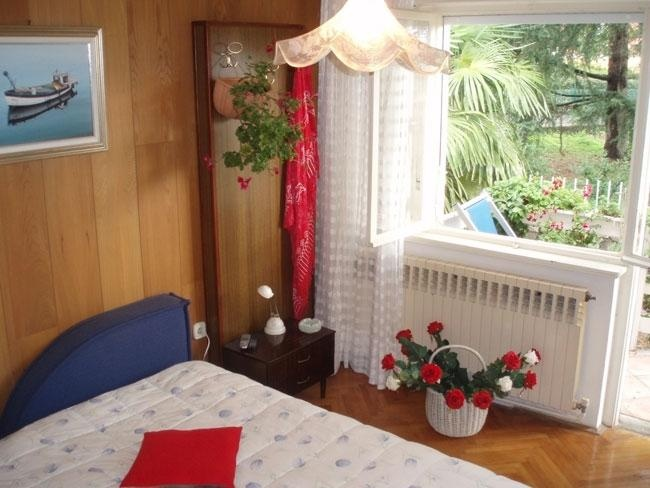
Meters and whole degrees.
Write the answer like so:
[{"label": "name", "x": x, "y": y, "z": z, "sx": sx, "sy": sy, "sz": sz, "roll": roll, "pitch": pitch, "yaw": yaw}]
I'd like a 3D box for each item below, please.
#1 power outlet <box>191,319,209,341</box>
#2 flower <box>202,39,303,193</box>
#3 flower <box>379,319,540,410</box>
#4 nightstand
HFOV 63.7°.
[{"label": "power outlet", "x": -0.912, "y": 0.633, "z": 3.798, "sx": 0.028, "sy": 0.116, "sz": 0.112, "roll": 5, "pitch": 3, "yaw": 34}, {"label": "flower", "x": -0.423, "y": -0.863, "z": 3.600, "sx": 0.590, "sy": 1.003, "sz": 0.703, "roll": 6, "pitch": 20, "yaw": 23}, {"label": "flower", "x": 0.896, "y": 0.882, "z": 3.515, "sx": 0.726, "sy": 0.327, "sz": 0.667, "roll": 15, "pitch": 20, "yaw": 30}, {"label": "nightstand", "x": -0.360, "y": 0.807, "z": 3.876, "sx": 0.448, "sy": 0.528, "sz": 0.722, "roll": 11, "pitch": 21, "yaw": 32}]
